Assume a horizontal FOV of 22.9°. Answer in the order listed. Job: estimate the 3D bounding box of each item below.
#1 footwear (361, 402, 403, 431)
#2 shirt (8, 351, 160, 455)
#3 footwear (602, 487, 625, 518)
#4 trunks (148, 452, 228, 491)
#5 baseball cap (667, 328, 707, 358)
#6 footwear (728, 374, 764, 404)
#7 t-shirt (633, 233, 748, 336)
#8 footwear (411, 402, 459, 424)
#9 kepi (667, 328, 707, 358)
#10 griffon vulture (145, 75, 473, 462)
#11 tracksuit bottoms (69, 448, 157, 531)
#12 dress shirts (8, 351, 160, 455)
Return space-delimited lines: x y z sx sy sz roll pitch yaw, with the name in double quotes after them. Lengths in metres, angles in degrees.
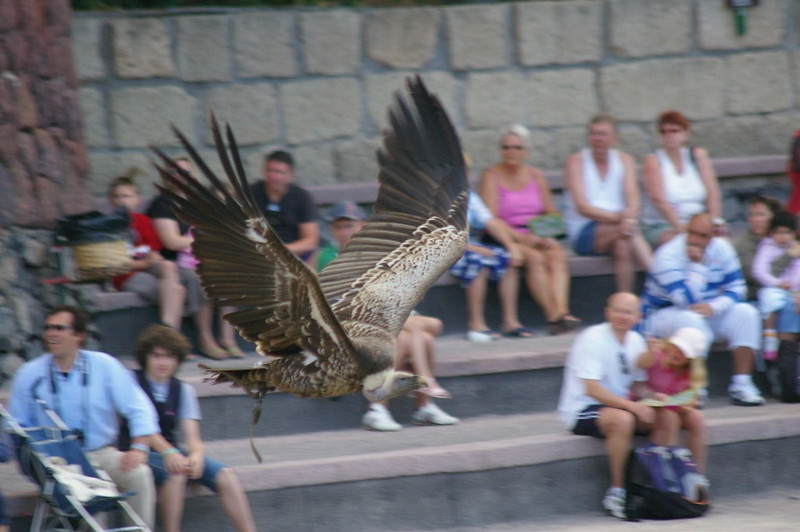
-0.163 1.051 13.795 0.353 0.142 0.151 2 1 9 "footwear"
-1.995 0.842 13.158 1.624 0.750 0.669 -1 -6 -2 "shirt"
1.458 1.597 13.510 0.166 0.207 0.094 -6 10 12 "footwear"
-1.444 1.384 13.056 0.413 0.103 0.376 -17 -11 34 "trunks"
1.977 0.517 13.609 0.261 0.206 0.248 -6 8 5 "baseball cap"
2.489 0.874 14.228 0.248 0.212 0.170 -6 9 7 "footwear"
2.125 0.118 14.334 0.679 0.624 0.689 -14 38 -25 "t-shirt"
0.212 1.031 13.883 0.373 0.102 0.121 0 1 9 "footwear"
1.946 0.528 13.552 0.169 0.191 0.262 -45 -26 16 "kepi"
-0.468 -0.009 13.526 0.941 2.462 2.417 -2 10 37 "griffon vulture"
-1.907 1.429 12.800 0.619 0.353 0.373 10 33 -26 "tracksuit bottoms"
-2.001 0.848 13.188 1.624 0.750 0.669 -1 -6 -2 "dress shirts"
